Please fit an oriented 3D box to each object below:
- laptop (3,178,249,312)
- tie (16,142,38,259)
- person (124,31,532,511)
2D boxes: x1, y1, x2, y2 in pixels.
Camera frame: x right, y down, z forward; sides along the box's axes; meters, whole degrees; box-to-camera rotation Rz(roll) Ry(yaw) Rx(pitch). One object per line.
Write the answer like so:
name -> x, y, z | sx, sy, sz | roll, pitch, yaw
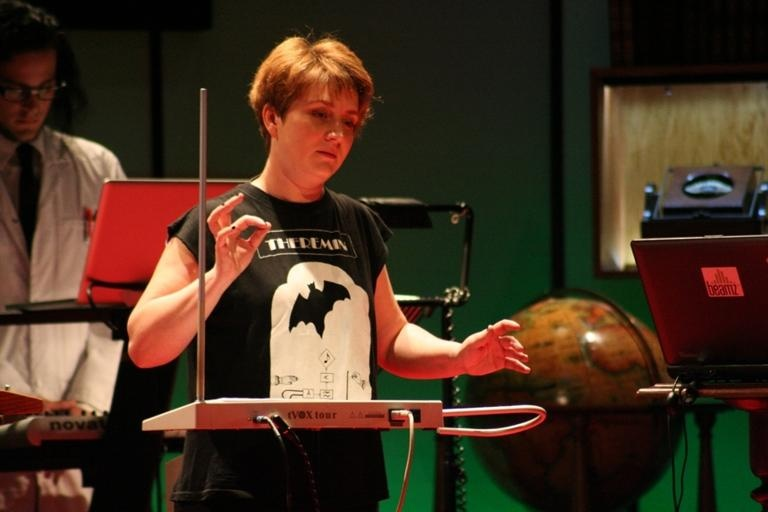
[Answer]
laptop -> -0.962, -0.017, 3.551 | 0.552, 0.397, 0.492 | 1, -4, -36
tie -> -1.792, -0.290, 4.430 | 0.083, 0.605, 0.071 | 0, -11, -14
person -> -0.259, 0.048, 2.945 | 1.131, 1.424, 0.420 | 3, 0, -20
